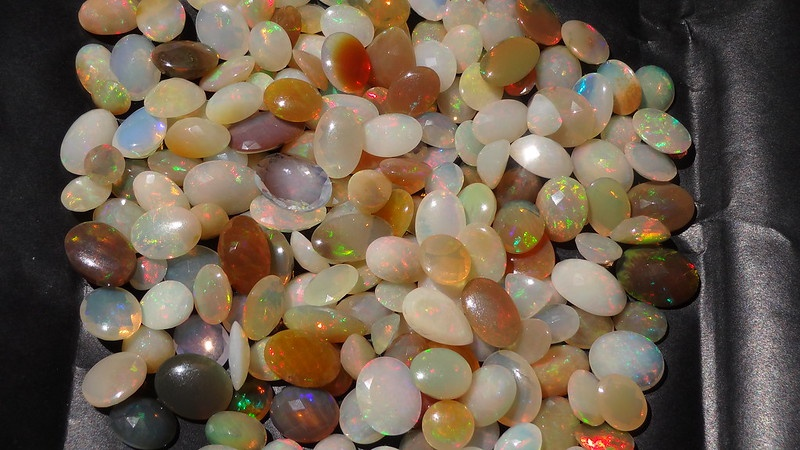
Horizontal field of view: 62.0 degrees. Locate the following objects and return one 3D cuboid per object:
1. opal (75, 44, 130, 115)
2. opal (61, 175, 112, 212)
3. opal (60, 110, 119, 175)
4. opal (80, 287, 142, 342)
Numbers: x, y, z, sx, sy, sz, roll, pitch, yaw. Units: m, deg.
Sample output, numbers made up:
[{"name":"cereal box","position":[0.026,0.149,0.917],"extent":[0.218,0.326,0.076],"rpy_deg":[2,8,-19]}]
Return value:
[{"name":"opal","position":[-0.749,-0.372,1.708],"extent":[0.109,0.077,0.188],"rpy_deg":[-27,89,11]},{"name":"opal","position":[-0.759,-0.076,1.595],"extent":[0.104,0.057,0.076],"rpy_deg":[12,60,-2]},{"name":"opal","position":[-0.759,-0.212,1.664],"extent":[0.107,0.091,0.166],"rpy_deg":[38,79,-6]},{"name":"opal","position":[-0.680,0.215,1.572],"extent":[0.140,0.080,0.112],"rpy_deg":[1,61,-8]}]
